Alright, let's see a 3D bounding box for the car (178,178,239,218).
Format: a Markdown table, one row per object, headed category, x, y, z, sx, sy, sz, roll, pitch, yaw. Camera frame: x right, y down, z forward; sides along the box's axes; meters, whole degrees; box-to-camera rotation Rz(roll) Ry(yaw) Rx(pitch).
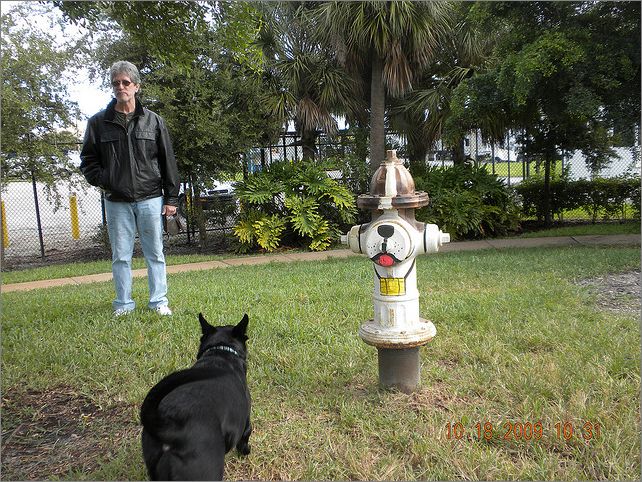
| category | x | y | z | sx | sy | sz | roll | pitch | yaw |
| --- | --- | --- | --- | --- | --- | --- | --- | --- | --- |
| car | -3.018 | -1.112 | 14.216 | 1.636 | 1.204 | 2.753 | -2 | 2 | -25 |
